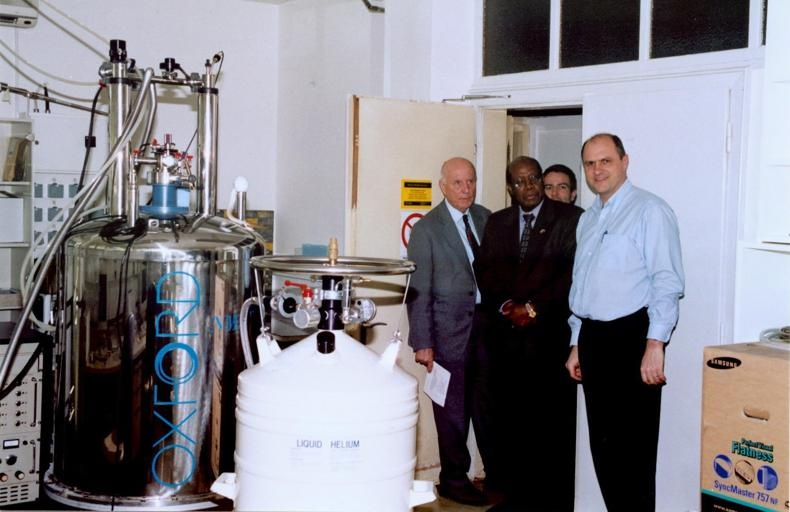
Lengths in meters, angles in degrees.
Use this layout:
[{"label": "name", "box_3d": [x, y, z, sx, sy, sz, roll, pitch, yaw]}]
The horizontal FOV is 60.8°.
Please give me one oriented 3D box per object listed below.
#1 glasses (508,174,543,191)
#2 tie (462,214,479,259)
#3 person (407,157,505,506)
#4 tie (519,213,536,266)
[{"label": "glasses", "box_3d": [0.871, -0.483, 4.469, 0.147, 0.053, 0.109, 4, -4, -21]}, {"label": "tie", "box_3d": [0.463, -0.127, 4.337, 0.068, 0.353, 0.042, -10, -21, -11]}, {"label": "person", "box_3d": [0.339, 0.476, 4.328, 0.543, 2.192, 0.337, 1, 4, -1]}, {"label": "tie", "box_3d": [0.820, -0.118, 4.288, 0.067, 0.368, 0.052, 3, -22, 12]}]
